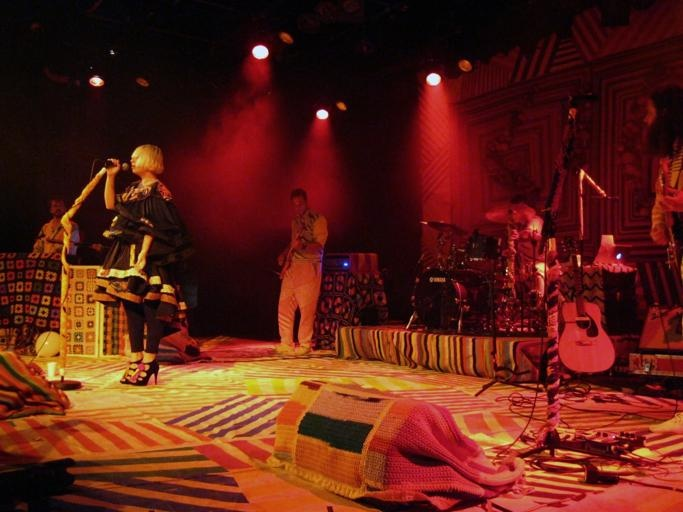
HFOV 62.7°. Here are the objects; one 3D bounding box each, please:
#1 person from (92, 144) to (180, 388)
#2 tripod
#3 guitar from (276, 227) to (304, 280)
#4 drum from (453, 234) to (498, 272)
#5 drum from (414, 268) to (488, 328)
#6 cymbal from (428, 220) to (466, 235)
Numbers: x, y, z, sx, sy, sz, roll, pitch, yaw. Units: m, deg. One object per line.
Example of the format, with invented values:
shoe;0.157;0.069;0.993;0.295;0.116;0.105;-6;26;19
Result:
person;-1.969;0.073;5.509;0.818;2.358;0.477;0;2;-13
tripod;1.409;0.733;3.889;0.482;1.276;0.425;13;-18;-20
guitar;-0.775;-0.008;8.397;0.174;0.942;0.248;33;19;22
drum;1.772;-0.075;7.477;0.533;0.518;1.504;1;1;11
drum;1.426;0.564;7.490;0.964;0.840;0.731;1;2;44
cymbal;1.417;-0.381;7.532;0.476;0.175;0.823;1;1;12
